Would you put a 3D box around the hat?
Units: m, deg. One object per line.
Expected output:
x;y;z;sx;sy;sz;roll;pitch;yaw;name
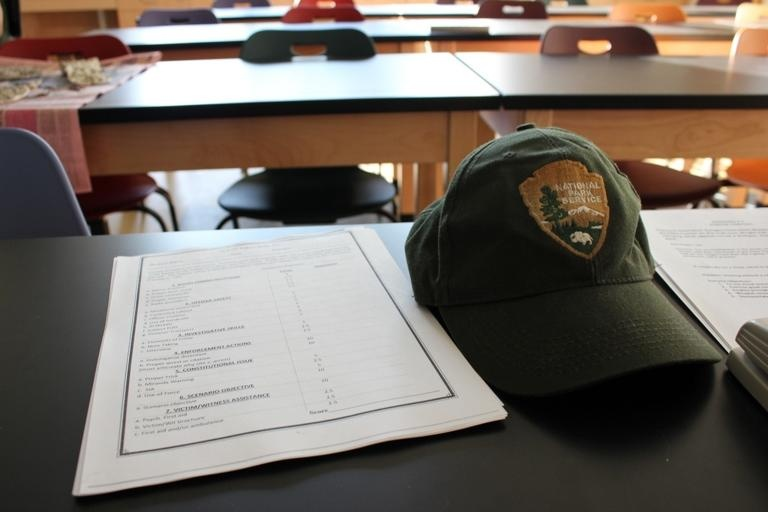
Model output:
0.202;-0.021;0.774;0.307;0.231;0.450;-6;17;-6;hat
